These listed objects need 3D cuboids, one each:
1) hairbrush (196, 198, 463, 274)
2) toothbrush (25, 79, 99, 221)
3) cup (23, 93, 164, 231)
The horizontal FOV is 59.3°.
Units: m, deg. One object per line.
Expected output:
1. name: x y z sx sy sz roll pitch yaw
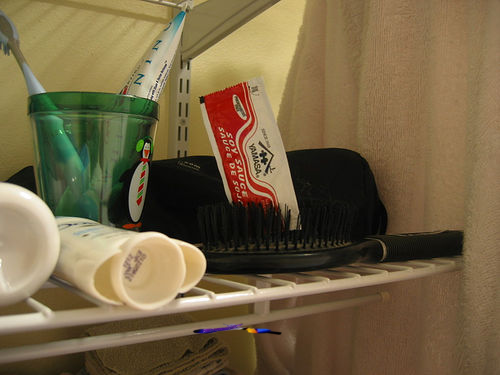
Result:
1. hairbrush: 0.085 0.050 0.517 0.322 0.069 0.153 1 1 -28
2. toothbrush: -0.189 -0.030 0.450 0.065 0.127 0.018 2 1 4
3. cup: -0.176 -0.021 0.509 0.139 0.160 0.142 3 4 0
